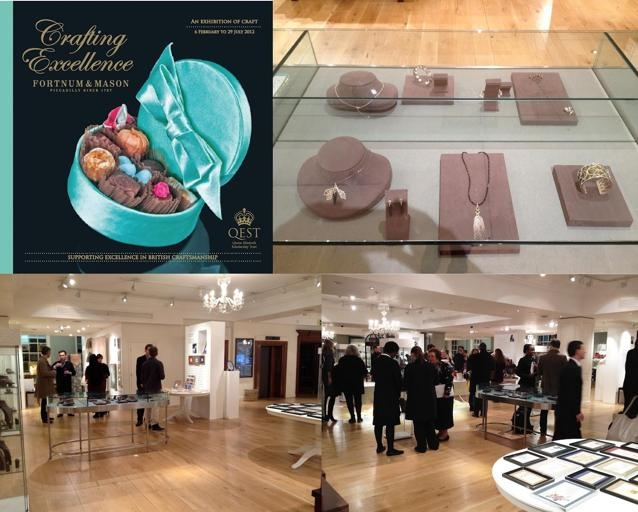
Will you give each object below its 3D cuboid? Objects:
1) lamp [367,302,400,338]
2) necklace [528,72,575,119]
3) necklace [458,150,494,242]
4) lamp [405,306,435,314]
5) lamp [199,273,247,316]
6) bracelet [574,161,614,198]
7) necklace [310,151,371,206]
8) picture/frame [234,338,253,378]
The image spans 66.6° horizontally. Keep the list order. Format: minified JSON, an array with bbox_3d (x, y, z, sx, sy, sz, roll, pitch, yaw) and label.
[{"bbox_3d":[0.557,0.503,4.119,0.245,0.396,0.258,4,3,35],"label":"lamp"},{"bbox_3d":[2.161,-1.486,4.527,0.285,0.656,0.128,-4,-33,0],"label":"necklace"},{"bbox_3d":[1.311,-0.523,4.019,0.189,0.765,0.097,0,-23,11],"label":"necklace"},{"bbox_3d":[0.839,0.453,4.028,0.240,0.061,0.029,-2,-6,10],"label":"lamp"},{"bbox_3d":[-0.811,0.321,4.054,0.289,0.346,0.292,-18,32,-38],"label":"lamp"},{"bbox_3d":[2.276,-0.647,4.096,0.303,0.217,0.316,4,-33,16],"label":"bracelet"},{"bbox_3d":[0.201,-0.645,4.106,0.383,0.394,0.107,39,-10,19],"label":"necklace"},{"bbox_3d":[-0.617,0.828,3.971,0.152,0.308,0.072,1,-5,-9],"label":"picture/frame"}]
